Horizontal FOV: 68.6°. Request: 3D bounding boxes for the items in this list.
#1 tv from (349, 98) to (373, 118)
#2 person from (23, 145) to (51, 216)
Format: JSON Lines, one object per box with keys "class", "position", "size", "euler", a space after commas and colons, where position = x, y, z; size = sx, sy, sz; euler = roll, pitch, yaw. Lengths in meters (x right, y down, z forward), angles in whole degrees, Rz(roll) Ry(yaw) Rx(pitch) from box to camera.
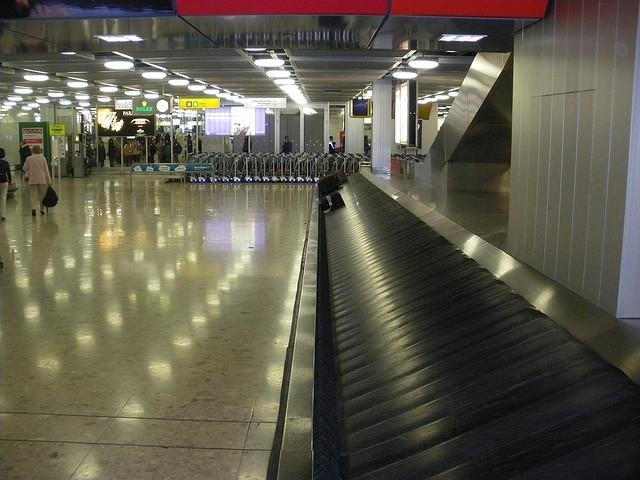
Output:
{"class": "tv", "position": [1.735, -5.497, 19.492], "size": [0.838, 0.832, 0.731], "euler": [-1, 3, 6]}
{"class": "person", "position": [-6.646, -1.435, 11.042], "size": [0.499, 1.581, 0.949], "euler": [-7, 14, -30]}
